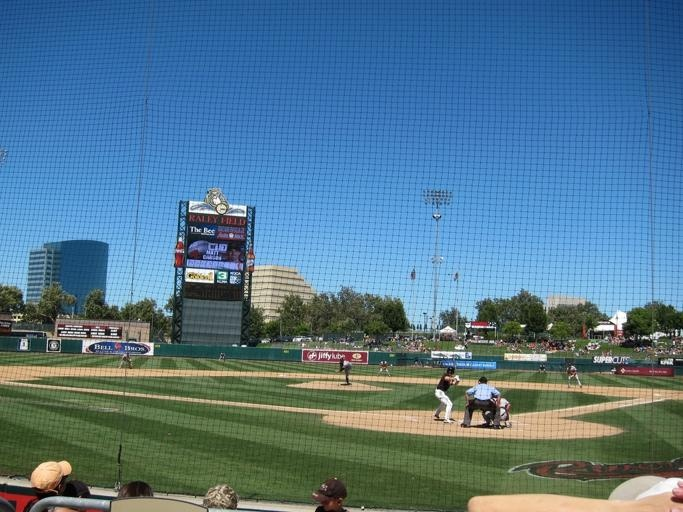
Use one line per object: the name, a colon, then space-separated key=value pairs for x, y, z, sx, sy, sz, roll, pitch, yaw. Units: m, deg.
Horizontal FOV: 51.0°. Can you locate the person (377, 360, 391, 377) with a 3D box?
person: x=2.151 y=5.642 z=36.261 sx=0.591 sy=0.824 sz=0.615 roll=0 pitch=-10 yaw=2

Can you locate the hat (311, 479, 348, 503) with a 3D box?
hat: x=-0.156 y=3.528 z=11.025 sx=0.442 sy=0.270 sz=0.334 roll=9 pitch=-7 yaw=-1

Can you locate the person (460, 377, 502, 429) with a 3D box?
person: x=3.857 y=4.010 z=19.714 sx=1.007 sy=1.465 sz=1.209 roll=2 pitch=-1 yaw=13

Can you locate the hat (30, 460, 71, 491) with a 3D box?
hat: x=-4.289 y=3.208 z=10.645 sx=0.378 sy=0.321 sz=0.554 roll=13 pitch=35 yaw=15
